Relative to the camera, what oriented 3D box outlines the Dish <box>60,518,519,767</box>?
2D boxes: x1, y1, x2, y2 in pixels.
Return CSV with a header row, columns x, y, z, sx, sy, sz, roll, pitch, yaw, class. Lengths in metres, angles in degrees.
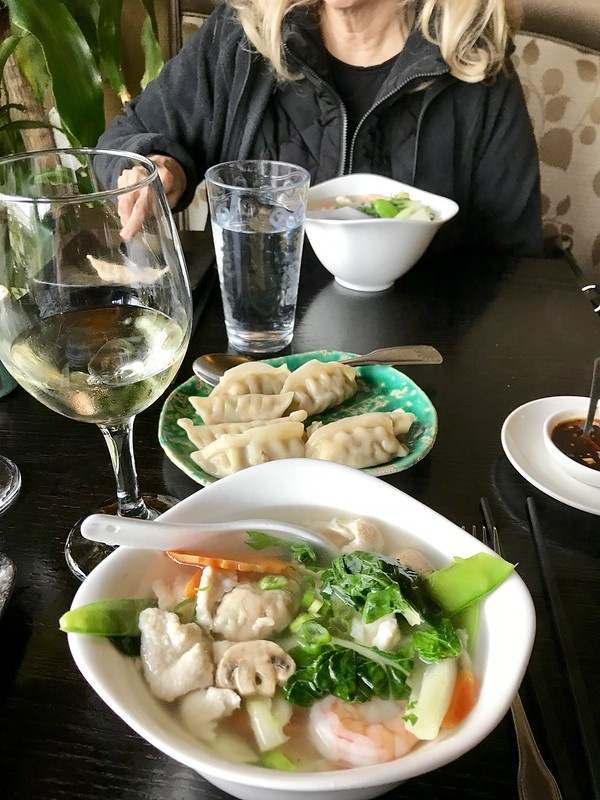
x,y,z,sx,sy,sz,roll,pitch,yaw,class
-0.016,0.168,0.507,0.253,0.081,0.209,-15,30,-28,Dish
